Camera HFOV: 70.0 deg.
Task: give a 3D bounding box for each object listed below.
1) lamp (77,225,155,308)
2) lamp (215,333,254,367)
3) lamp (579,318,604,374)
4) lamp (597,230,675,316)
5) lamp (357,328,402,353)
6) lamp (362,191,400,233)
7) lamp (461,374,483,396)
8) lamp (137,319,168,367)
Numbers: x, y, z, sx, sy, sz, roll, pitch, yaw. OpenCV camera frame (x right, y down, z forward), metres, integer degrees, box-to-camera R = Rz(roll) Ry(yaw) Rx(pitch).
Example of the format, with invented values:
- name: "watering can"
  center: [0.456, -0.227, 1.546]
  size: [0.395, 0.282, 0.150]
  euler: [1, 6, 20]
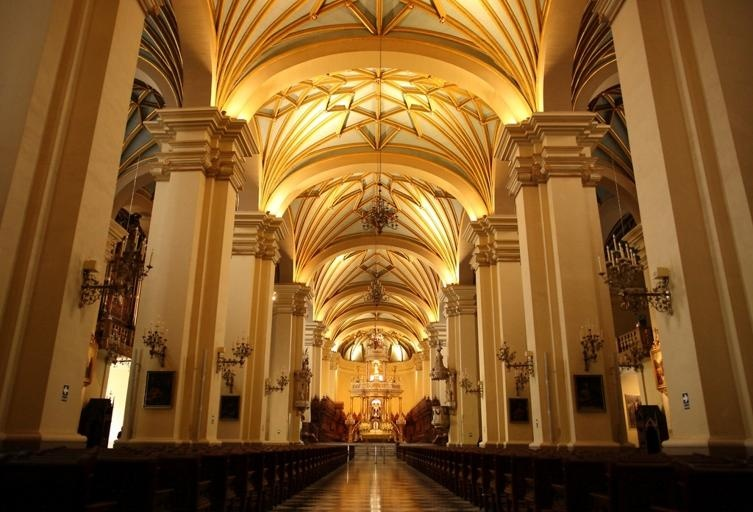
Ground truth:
- name: "lamp"
  center: [-4.469, 0.149, 9.367]
  size: [1.040, 1.617, 1.108]
  euler: [10, 1, -6]
- name: "lamp"
  center: [-3.391, 2.176, 12.473]
  size: [0.982, 0.941, 0.634]
  euler: [-4, -7, 8]
- name: "lamp"
  center: [3.921, 1.590, 9.792]
  size: [0.398, 0.746, 0.336]
  euler: [-5, 0, -3]
- name: "lamp"
  center: [3.673, 0.308, 7.674]
  size: [0.775, 1.164, 0.557]
  euler: [-2, -7, 27]
- name: "lamp"
  center: [0.076, 6.294, 40.111]
  size: [2.553, 1.431, 2.751]
  euler: [0, -26, 0]
- name: "lamp"
  center: [0.149, -1.675, 18.897]
  size: [0.941, 1.498, 0.957]
  euler: [21, -36, -28]
- name: "lamp"
  center: [3.111, 4.346, 18.118]
  size: [0.612, 0.663, 0.680]
  euler: [-2, -22, 5]
- name: "lamp"
  center: [-4.168, 1.599, 10.118]
  size: [0.390, 0.795, 0.361]
  euler: [8, -5, -24]
